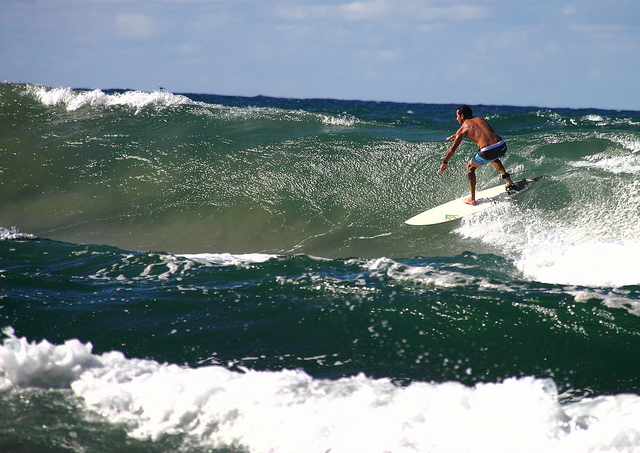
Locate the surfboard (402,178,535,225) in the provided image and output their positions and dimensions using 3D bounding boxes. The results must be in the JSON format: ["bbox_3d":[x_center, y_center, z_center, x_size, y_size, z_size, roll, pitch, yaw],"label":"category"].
[{"bbox_3d":[2.317,-0.360,13.119,1.350,0.103,0.349,-20,22,3],"label":"surfboard"}]

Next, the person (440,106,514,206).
[{"bbox_3d":[2.333,-1.023,12.565,0.983,1.491,0.743,-1,9,11],"label":"person"}]
